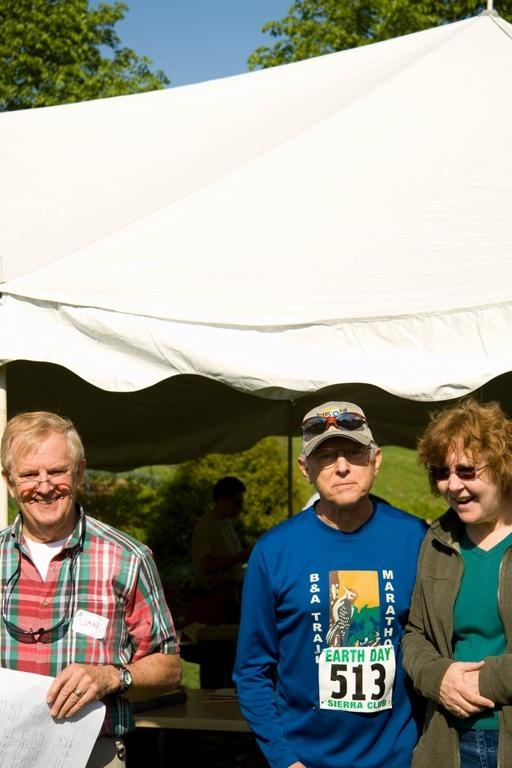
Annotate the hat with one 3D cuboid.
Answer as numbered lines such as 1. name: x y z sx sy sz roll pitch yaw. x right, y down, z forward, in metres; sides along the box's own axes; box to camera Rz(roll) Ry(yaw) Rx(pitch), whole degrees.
1. hat: 0.268 0.174 3.615 0.216 0.065 0.214 -8 -25 11

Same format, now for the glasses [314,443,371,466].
1. glasses: 0.276 0.235 3.514 0.108 0.026 0.099 -8 -28 0

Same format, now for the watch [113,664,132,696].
1. watch: -0.402 0.909 3.331 0.052 0.087 0.091 0 -13 -3

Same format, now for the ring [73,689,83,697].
1. ring: -0.521 0.905 3.187 0.023 0.019 0.022 0 -8 0
